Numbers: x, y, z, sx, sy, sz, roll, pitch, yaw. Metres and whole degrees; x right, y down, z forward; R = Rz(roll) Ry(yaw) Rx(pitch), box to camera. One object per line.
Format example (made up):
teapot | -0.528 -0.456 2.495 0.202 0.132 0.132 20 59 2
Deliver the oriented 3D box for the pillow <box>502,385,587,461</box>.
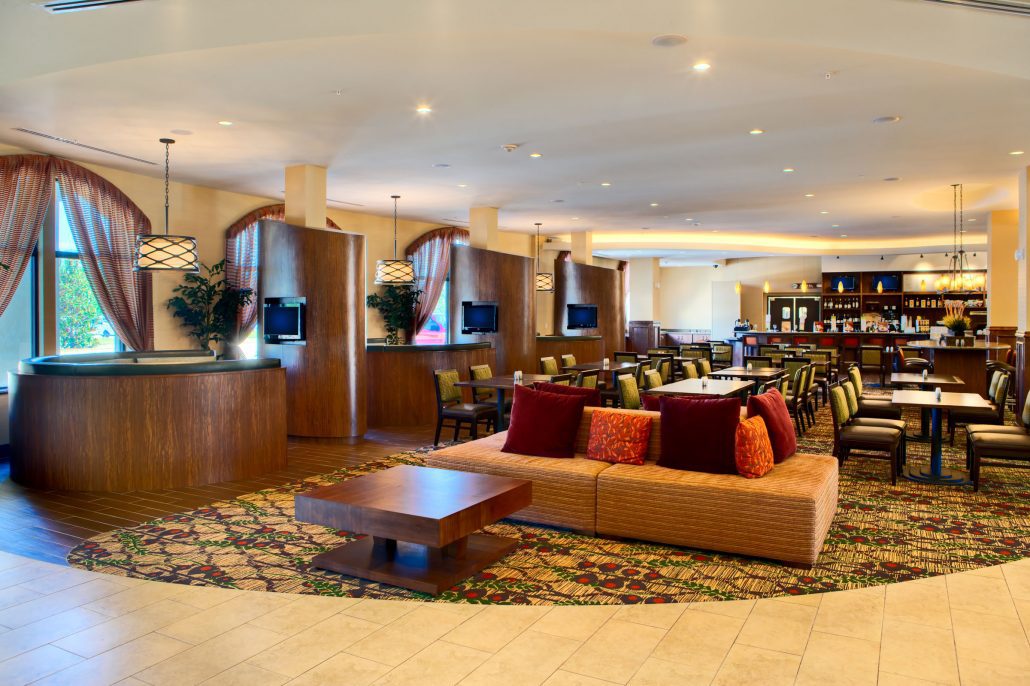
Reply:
pillow | 0.309 0.793 6.760 0.766 0.643 0.280 7 -7 24

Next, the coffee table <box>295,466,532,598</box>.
coffee table | -0.740 1.481 5.706 1.482 0.714 1.183 0 2 22

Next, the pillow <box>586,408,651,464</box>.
pillow | 0.974 0.878 6.526 0.625 0.454 0.329 3 14 42

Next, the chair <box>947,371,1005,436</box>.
chair | 5.975 0.829 9.082 0.741 0.940 0.737 6 12 38

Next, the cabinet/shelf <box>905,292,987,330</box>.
cabinet/shelf | 11.369 -0.846 18.286 0.240 0.639 1.304 9 -9 -44

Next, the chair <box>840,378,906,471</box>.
chair | 4.092 0.976 8.066 0.807 0.957 0.703 5 19 30

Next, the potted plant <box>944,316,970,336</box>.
potted plant | 8.729 -0.331 13.813 0.489 0.426 0.474 0 2 20

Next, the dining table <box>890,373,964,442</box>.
dining table | 5.340 0.853 9.050 1.026 0.844 0.979 1 4 19

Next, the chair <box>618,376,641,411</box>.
chair | 1.499 0.650 9.066 0.230 0.414 0.813 -1 2 7

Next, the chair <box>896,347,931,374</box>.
chair | 8.026 0.344 14.015 0.500 0.529 0.590 -2 1 22

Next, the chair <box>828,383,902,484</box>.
chair | 3.979 0.929 7.845 0.761 0.852 0.732 6 16 43

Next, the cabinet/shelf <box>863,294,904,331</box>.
cabinet/shelf | 10.407 -0.852 19.621 1.190 1.012 0.421 -3 -7 38

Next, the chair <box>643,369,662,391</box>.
chair | 1.899 0.506 9.591 0.236 0.365 0.293 0 0 42

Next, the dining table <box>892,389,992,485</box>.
dining table | 4.871 1.128 8.058 1.217 0.759 1.247 1 -2 34

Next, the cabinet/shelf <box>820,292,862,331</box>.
cabinet/shelf | 9.502 -0.923 20.224 1.336 1.124 0.424 -1 -2 29

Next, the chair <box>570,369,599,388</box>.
chair | 0.956 0.480 9.532 0.267 0.324 0.264 -1 5 -34

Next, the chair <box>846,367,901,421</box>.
chair | 4.742 0.658 9.283 0.844 0.953 0.745 -1 1 26

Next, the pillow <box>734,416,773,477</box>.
pillow | 2.011 0.896 5.929 0.245 0.417 0.463 -18 -3 29

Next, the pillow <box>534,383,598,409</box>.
pillow | 0.568 0.487 6.911 0.386 0.130 0.357 4 1 -9

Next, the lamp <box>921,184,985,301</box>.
lamp | 11.253 -2.601 17.663 1.671 2.486 1.557 -8 10 13

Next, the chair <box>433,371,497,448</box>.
chair | -0.647 0.853 9.249 0.791 0.830 0.725 4 6 11

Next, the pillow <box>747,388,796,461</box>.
pillow | 2.361 0.764 6.433 0.296 0.581 0.842 1 5 30

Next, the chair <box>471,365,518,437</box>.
chair | -0.232 0.763 9.270 0.635 0.865 1.006 8 5 24

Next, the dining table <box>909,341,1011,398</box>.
dining table | 8.496 0.332 13.372 1.255 0.689 1.583 1 2 20

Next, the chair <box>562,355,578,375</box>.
chair | 0.908 0.335 11.389 0.279 0.400 0.264 1 -1 -38

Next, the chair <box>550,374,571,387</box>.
chair | 0.633 0.514 9.498 0.172 0.206 0.187 0 7 -14

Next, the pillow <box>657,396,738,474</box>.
pillow | 1.595 0.813 6.040 0.691 0.564 0.245 2 -8 29
